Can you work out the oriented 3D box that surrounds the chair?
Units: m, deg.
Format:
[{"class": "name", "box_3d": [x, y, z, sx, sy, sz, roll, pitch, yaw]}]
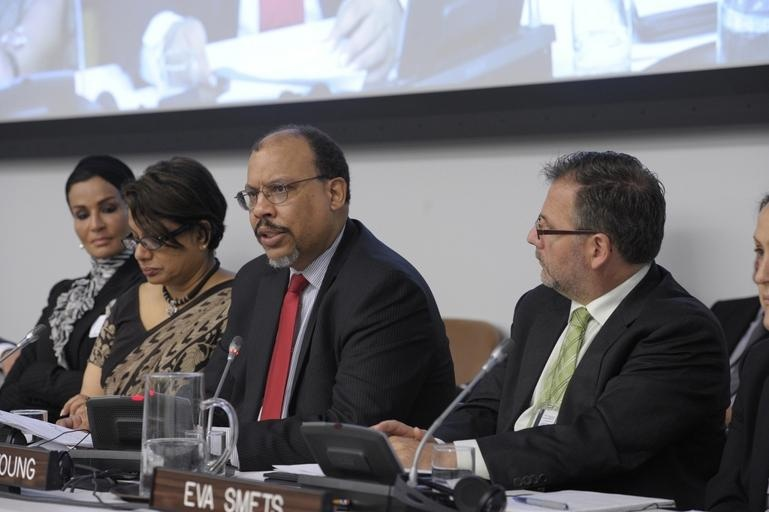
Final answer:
[{"class": "chair", "box_3d": [0.387, 0.482, 3.540, 0.289, 0.386, 0.287, -2, -17, 4]}]

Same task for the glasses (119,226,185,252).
[{"class": "glasses", "box_3d": [-0.985, -0.067, 3.091, 0.209, 0.062, 0.202, -19, 5, -40]}]

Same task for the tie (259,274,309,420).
[{"class": "tie", "box_3d": [-0.356, 0.332, 2.594, 0.058, 0.508, 0.058, 11, -3, -27]}]

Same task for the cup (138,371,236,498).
[{"class": "cup", "box_3d": [-0.492, 0.455, 1.834, 0.255, 0.263, 0.157, 0, -24, -9]}]

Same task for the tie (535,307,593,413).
[{"class": "tie", "box_3d": [0.587, 0.341, 2.365, 0.105, 0.466, 0.064, 26, -26, 3]}]

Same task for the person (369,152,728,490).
[{"class": "person", "box_3d": [0.578, 0.252, 2.409, 0.952, 1.024, 1.175, -1, 7, 39]}]

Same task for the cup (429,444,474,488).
[{"class": "cup", "box_3d": [0.172, 0.511, 1.775, 0.086, 0.082, 0.086, 0, -8, 0]}]

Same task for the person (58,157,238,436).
[{"class": "person", "box_3d": [-0.949, 0.245, 3.139, 0.802, 1.255, 0.760, 0, 4, 14]}]
